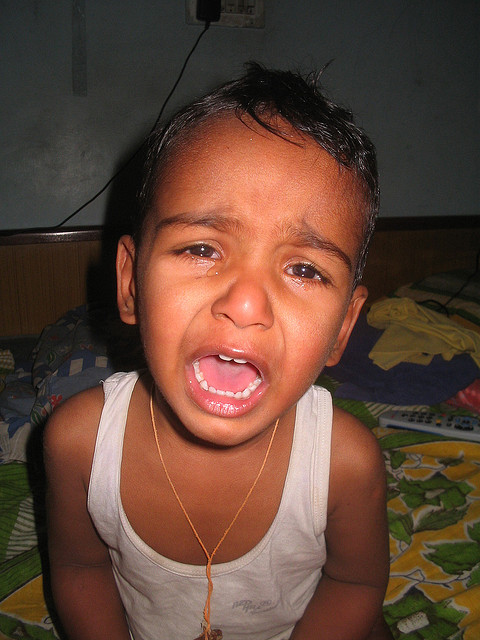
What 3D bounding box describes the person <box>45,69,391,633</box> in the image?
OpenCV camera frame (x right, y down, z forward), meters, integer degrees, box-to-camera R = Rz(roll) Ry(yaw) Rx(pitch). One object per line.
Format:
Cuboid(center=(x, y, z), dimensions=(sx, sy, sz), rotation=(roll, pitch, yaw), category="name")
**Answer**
Cuboid(center=(-0.014, 0.056, 0.783), dimensions=(0.414, 0.841, 0.396), rotation=(-2, 11, -37), category="person")
